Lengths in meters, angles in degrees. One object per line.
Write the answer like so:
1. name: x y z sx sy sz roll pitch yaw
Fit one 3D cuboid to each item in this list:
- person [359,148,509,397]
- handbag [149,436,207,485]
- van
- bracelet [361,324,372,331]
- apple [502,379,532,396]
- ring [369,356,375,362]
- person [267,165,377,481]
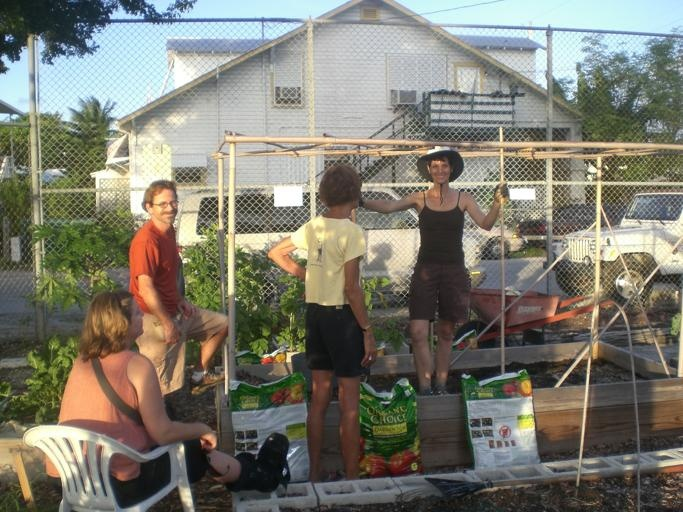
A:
1. person: 1.013 0.138 8.977 1.253 1.981 0.602 -1 -1 1
2. handbag: -1.394 1.737 7.468 0.329 0.437 0.318 0 -4 23
3. van: -0.392 -0.407 13.834 3.985 2.093 2.229 -4 4 -9
4. bracelet: 0.244 0.653 8.058 0.076 0.037 0.149 -2 -1 33
5. apple: 1.719 1.282 8.457 0.197 0.071 0.150 -5 -3 -8
6. ring: 0.282 0.941 8.026 0.031 0.056 0.053 -4 -8 40
7. person: -0.131 0.620 8.154 0.879 2.091 0.307 -2 -1 33
